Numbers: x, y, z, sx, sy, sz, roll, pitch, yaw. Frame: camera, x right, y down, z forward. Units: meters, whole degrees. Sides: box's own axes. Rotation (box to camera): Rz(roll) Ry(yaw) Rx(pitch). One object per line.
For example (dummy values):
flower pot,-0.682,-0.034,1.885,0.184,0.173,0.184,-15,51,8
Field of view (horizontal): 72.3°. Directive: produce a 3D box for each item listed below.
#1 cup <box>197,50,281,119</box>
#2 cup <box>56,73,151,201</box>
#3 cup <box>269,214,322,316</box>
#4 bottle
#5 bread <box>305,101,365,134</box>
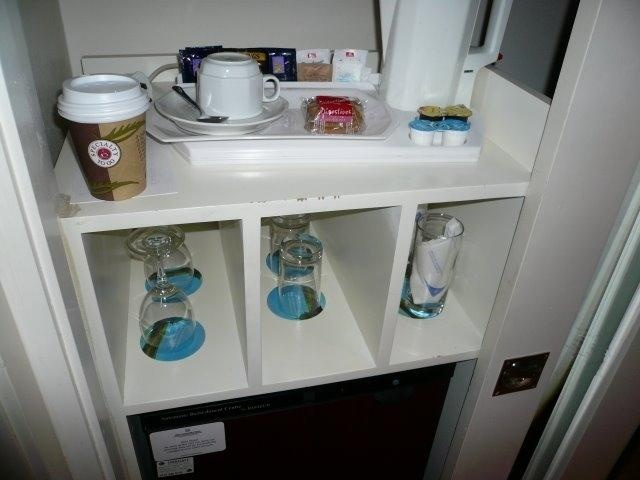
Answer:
cup,-0.164,-0.325,0.913,0.159,0.108,0.126,-7,34,-20
cup,-0.352,-0.170,0.743,0.132,0.174,0.143,0,30,0
cup,-0.063,0.074,1.135,0.140,0.165,0.162,-19,39,-28
bottle,0.273,0.069,1.098,0.112,0.213,0.119,4,22,-2
bread,0.036,-0.255,0.909,0.083,0.029,0.088,1,57,-5
